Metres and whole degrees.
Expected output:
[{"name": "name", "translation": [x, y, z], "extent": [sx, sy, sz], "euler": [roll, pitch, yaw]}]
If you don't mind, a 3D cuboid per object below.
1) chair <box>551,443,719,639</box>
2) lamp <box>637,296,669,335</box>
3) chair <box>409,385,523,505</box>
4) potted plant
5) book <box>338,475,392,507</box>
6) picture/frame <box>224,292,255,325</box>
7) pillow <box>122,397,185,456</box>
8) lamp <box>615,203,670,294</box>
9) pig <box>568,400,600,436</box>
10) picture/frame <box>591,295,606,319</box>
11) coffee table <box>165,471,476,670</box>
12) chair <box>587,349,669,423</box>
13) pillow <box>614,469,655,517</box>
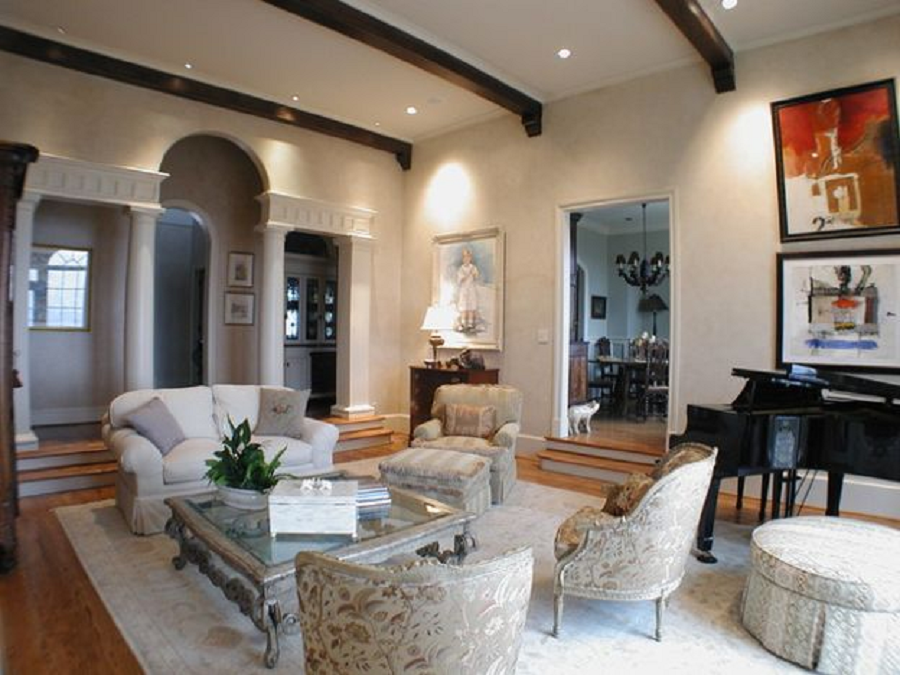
[{"name": "chair", "translation": [1.169, 1.164, 4.260], "extent": [1.092, 1.333, 0.977], "euler": [1, -1, 19]}, {"name": "lamp", "translation": [3.742, -0.432, 11.509], "extent": [0.442, 0.775, 0.608], "euler": [-1, 1, -3]}, {"name": "chair", "translation": [0.249, 0.872, 6.140], "extent": [1.108, 1.164, 0.972], "euler": [1, -2, 22]}, {"name": "potted plant", "translation": [-1.433, 0.885, 4.531], "extent": [0.627, 0.512, 0.644], "euler": [4, -2, 8]}, {"name": "book", "translation": [-0.598, 1.050, 4.303], "extent": [0.250, 0.066, 0.248], "euler": [4, 0, -2]}, {"name": "picture/frame", "translation": [-2.708, -0.386, 7.987], "extent": [0.032, 0.454, 0.396], "euler": [3, 1, 42]}, {"name": "pillow", "translation": [-2.523, 0.737, 5.299], "extent": [0.446, 0.445, 0.392], "euler": [0, 1, 4]}, {"name": "lamp", "translation": [3.189, -1.436, 10.429], "extent": [0.811, 1.359, 2.274], "euler": [0, 1, 19]}, {"name": "pig", "translation": [1.543, 0.919, 7.393], "extent": [0.296, 0.364, 0.733], "euler": [0, 1, 11]}, {"name": "picture/frame", "translation": [2.730, -0.583, 11.645], "extent": [0.052, 0.370, 0.414], "euler": [-6, -7, 36]}, {"name": "coffee table", "translation": [-1.122, 1.267, 3.924], "extent": [1.208, 0.357, 1.228], "euler": [2, 2, 44]}, {"name": "chair", "translation": [2.655, 0.699, 9.285], "extent": [0.951, 0.528, 1.002], "euler": [1, 4, 29]}, {"name": "pillow", "translation": [1.176, 1.017, 4.038], "extent": [0.095, 0.294, 0.252], "euler": [21, 14, -12]}]
